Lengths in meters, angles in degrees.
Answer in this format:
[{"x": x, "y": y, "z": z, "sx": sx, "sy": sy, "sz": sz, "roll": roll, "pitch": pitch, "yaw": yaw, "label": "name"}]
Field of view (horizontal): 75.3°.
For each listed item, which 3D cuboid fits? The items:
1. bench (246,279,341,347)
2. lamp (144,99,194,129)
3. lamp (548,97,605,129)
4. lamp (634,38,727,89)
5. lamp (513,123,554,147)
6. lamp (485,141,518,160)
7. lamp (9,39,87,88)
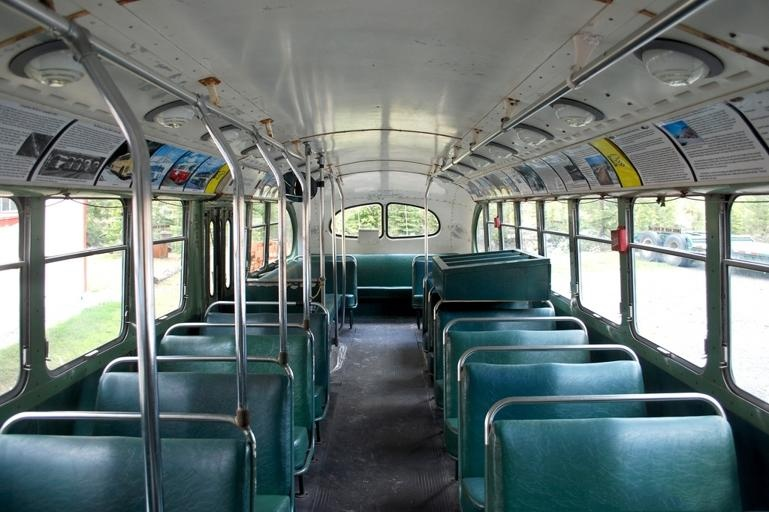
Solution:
[{"x": -1.176, "y": 0.689, "z": 6.178, "sx": 1.437, "sy": 0.922, "sz": 0.958, "roll": -1, "pitch": -11, "yaw": 3, "label": "bench"}, {"x": -1.645, "y": -1.096, "z": 3.889, "sx": 0.240, "sy": 0.072, "sz": 0.220, "roll": -2, "pitch": -3, "yaw": 2, "label": "lamp"}, {"x": 1.571, "y": -1.176, "z": 4.097, "sx": 0.427, "sy": 0.186, "sz": 0.440, "roll": 2, "pitch": 10, "yaw": 11, "label": "lamp"}, {"x": 1.676, "y": -1.123, "z": 2.869, "sx": 0.318, "sy": 0.098, "sz": 0.292, "roll": 11, "pitch": -7, "yaw": -9, "label": "lamp"}, {"x": 1.503, "y": -1.213, "z": 4.932, "sx": 0.542, "sy": 0.159, "sz": 0.285, "roll": -9, "pitch": 14, "yaw": -44, "label": "lamp"}, {"x": 1.368, "y": -1.268, "z": 5.918, "sx": 0.331, "sy": 0.160, "sz": 0.391, "roll": 5, "pitch": 11, "yaw": 27, "label": "lamp"}, {"x": -1.940, "y": -1.091, "z": 2.847, "sx": 0.514, "sy": 0.200, "sz": 0.259, "roll": 4, "pitch": 11, "yaw": 21, "label": "lamp"}]
